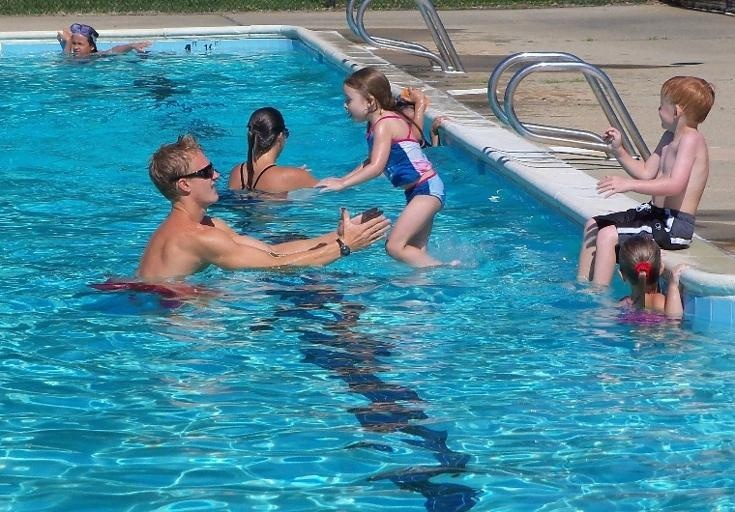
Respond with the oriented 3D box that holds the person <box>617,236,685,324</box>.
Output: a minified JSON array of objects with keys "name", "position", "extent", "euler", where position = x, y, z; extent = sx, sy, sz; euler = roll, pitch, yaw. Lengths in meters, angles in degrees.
[{"name":"person","position":[1.822,0.130,4.857],"extent":[0.401,0.529,0.328],"euler":[1,20,13]}]

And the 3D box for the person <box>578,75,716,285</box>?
[{"name":"person","position":[1.936,-0.481,5.079],"extent":[0.898,1.436,0.452],"euler":[-9,22,-12]}]

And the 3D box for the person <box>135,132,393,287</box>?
[{"name":"person","position":[-0.850,-0.334,5.173],"extent":[1.580,0.987,0.519],"euler":[-5,20,-10]}]

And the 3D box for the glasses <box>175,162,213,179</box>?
[{"name":"glasses","position":[-1.119,-0.561,4.967],"extent":[0.206,0.033,0.145],"euler":[-8,8,9]}]

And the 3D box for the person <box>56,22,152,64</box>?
[{"name":"person","position":[-4.664,-3.659,13.155],"extent":[2.061,0.403,0.817],"euler":[9,8,32]}]
